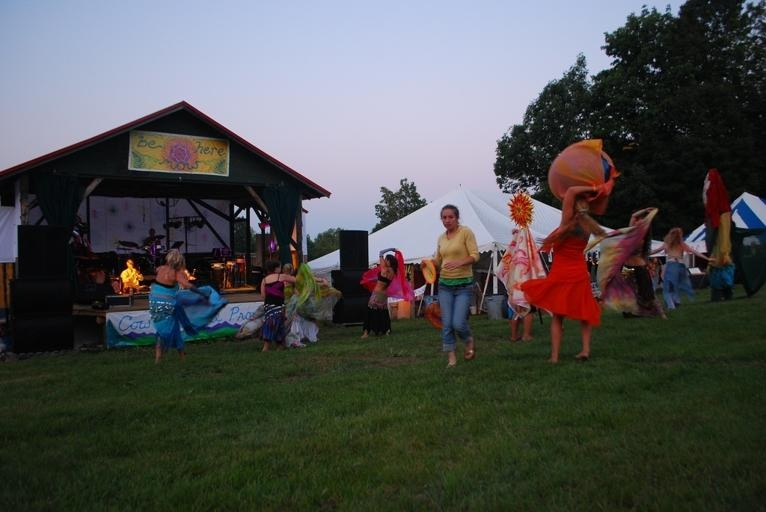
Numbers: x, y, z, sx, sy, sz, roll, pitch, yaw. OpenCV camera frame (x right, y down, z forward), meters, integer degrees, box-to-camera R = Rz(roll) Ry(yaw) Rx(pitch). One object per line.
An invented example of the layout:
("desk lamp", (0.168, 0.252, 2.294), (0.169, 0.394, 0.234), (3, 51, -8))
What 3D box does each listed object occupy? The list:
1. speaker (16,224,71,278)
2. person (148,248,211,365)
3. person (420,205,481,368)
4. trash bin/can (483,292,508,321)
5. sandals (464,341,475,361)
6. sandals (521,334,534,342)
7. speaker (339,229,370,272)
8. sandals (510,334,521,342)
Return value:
("speaker", (-6.397, -0.063, 10.758), (1.153, 1.222, 0.874), (0, 0, -14))
("person", (-3.319, 0.783, 8.754), (0.682, 1.678, 0.721), (-4, 2, -21))
("person", (0.920, 0.327, 6.780), (0.508, 1.285, 0.530), (-3, 2, 6))
("trash bin/can", (2.663, 1.218, 13.115), (0.492, 0.470, 0.470), (2, -14, -6))
("sandals", (1.060, 1.165, 6.794), (0.188, 0.246, 0.589), (-5, -12, 11))
("sandals", (2.215, 1.254, 8.493), (0.193, 0.171, 0.074), (-7, -2, -2))
("speaker", (-0.679, -0.125, 12.974), (0.893, 1.284, 0.689), (0, -3, -23))
("sandals", (2.070, 1.269, 8.640), (0.199, 0.157, 0.069), (-10, 6, -41))
